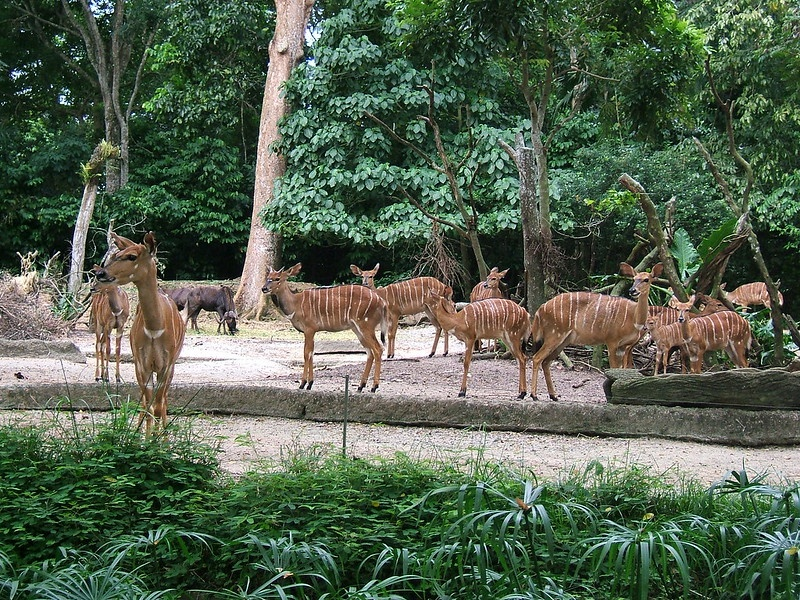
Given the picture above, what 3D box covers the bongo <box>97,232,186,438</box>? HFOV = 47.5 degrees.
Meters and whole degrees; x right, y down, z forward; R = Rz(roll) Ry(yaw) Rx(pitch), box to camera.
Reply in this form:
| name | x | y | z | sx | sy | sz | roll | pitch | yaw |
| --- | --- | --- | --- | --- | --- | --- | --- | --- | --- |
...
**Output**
| name | x | y | z | sx | sy | sz | roll | pitch | yaw |
| --- | --- | --- | --- | --- | --- | --- | --- | --- | --- |
| bongo | -2.493 | 0.297 | 8.643 | 0.683 | 1.745 | 1.199 | 2 | -1 | -5 |
